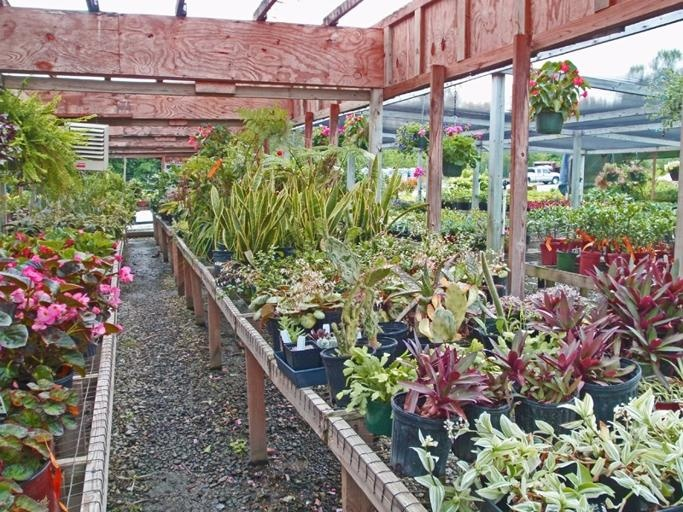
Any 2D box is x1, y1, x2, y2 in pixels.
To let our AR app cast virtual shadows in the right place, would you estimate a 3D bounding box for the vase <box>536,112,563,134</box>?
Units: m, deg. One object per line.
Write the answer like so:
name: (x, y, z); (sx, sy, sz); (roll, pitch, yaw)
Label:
vase: (1.588, -1.009, 4.020); (0.161, 0.105, 0.160); (7, 11, 11)
